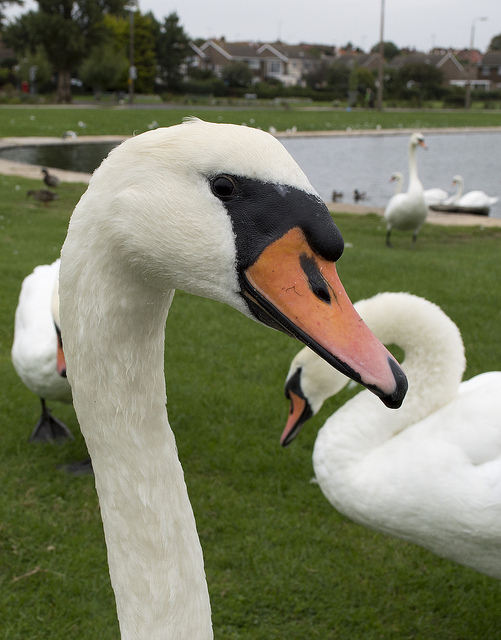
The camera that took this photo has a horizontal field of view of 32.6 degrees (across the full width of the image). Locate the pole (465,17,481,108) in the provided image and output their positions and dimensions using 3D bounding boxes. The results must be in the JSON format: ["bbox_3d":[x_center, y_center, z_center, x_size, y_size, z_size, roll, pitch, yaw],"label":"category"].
[{"bbox_3d":[0.772,-0.901,2.976,0.032,0.305,0.125,6,15,13],"label":"pole"}]

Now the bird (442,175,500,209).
[{"bbox_3d":[0.764,-0.443,2.950,0.206,0.132,0.077,9,20,39],"label":"bird"}]

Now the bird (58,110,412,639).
[{"bbox_3d":[-0.089,0.213,1.972,0.761,1.320,0.250,11,17,29],"label":"bird"}]

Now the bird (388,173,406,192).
[{"bbox_3d":[0.627,-0.601,3.671,0.045,0.073,0.129,-1,-1,2],"label":"bird"}]

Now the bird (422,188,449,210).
[{"bbox_3d":[0.681,-0.447,3.123,0.069,0.048,0.116,-9,9,10],"label":"bird"}]
